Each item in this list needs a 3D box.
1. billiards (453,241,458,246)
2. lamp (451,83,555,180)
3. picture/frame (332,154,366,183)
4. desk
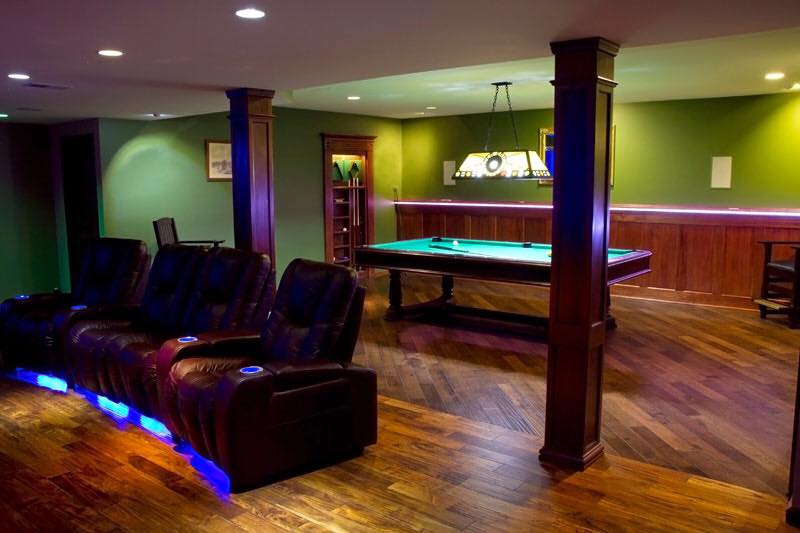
[{"bbox_3d":[0.808,-0.341,7.933,0.049,0.046,0.055,-28,-32,7],"label":"billiards"},{"bbox_3d":[1.383,-1.783,7.331,0.582,1.218,1.412,-12,15,-39],"label":"lamp"},{"bbox_3d":[-1.003,-1.882,10.407,0.072,0.415,0.662,6,7,42],"label":"picture/frame"},{"bbox_3d":[0.914,0.256,7.462,2.665,1.151,1.305,3,10,34],"label":"desk"}]
